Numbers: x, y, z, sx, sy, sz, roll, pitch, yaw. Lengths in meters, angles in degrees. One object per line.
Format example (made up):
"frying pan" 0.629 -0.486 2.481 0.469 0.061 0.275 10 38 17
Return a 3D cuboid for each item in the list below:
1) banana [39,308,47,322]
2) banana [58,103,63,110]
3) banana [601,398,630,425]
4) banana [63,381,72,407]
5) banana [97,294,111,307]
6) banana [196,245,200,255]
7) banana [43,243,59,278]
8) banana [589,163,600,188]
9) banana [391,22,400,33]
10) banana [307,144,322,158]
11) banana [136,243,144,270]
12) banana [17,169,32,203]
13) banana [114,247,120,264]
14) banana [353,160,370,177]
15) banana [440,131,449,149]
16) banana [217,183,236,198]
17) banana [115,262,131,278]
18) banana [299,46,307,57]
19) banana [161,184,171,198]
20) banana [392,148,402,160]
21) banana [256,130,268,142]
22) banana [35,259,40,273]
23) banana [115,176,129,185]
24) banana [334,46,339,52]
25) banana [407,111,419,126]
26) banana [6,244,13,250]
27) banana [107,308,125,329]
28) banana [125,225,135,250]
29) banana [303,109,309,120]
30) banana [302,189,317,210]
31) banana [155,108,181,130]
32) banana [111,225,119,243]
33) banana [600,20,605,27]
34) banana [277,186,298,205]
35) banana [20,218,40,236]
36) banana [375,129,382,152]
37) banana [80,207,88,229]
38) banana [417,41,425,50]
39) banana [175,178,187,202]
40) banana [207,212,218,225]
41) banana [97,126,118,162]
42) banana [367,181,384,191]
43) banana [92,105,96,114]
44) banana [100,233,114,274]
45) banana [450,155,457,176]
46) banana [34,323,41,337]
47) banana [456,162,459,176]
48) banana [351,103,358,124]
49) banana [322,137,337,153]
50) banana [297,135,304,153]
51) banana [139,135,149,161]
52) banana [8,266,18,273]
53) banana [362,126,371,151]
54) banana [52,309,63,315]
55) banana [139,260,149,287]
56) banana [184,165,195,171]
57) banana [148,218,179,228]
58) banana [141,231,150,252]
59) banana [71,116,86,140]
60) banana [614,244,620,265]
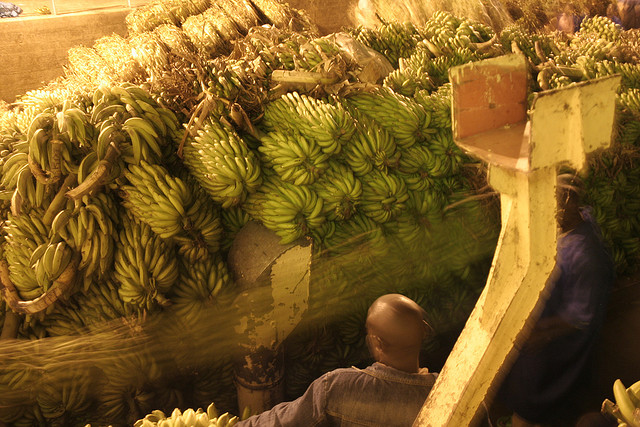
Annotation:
"banana" -1.881 0.692 4.439 0.028 0.095 0.027 0 -13 42
"banana" -1.822 -0.746 4.587 0.035 0.015 0.049 -13 48 -13
"banana" 1.714 1.147 3.818 0.064 0.213 0.050 -54 1 5
"banana" -1.753 1.251 4.530 0.055 0.192 0.037 -3 -8 25
"banana" -1.487 0.602 4.476 0.034 0.110 0.034 -46 -1 13
"banana" -0.853 0.264 4.589 0.012 0.066 0.016 19 -9 -29
"banana" -1.784 0.316 4.310 0.061 0.210 0.068 3 -11 41
"banana" 2.275 -0.321 5.357 0.042 0.261 0.037 4 12 -21
"banana" 0.679 -1.653 5.818 0.026 0.122 0.033 -36 13 -15
"banana" -0.026 -0.440 4.648 0.095 0.060 0.027 -56 21 -3
"banana" -1.223 0.298 4.441 0.041 0.163 0.045 3 -12 -35
"banana" -1.966 -0.176 4.346 0.078 0.232 0.049 2 1 -37
"banana" -1.390 0.282 4.461 0.057 0.079 0.022 -11 -8 9
"banana" 0.314 -0.314 4.746 0.124 0.101 0.037 -14 20 0
"banana" 0.948 -0.552 4.941 0.031 0.170 0.044 -2 -13 -18
"banana" -0.650 -0.150 4.575 0.149 0.077 0.027 -11 20 8
"banana" -1.343 0.393 4.440 0.115 0.107 0.028 3 25 36
"banana" -0.128 -1.216 4.939 0.045 0.062 0.052 2 25 34
"banana" -1.047 -0.147 4.447 0.038 0.083 0.027 -24 -6 -4
"banana" 0.572 -0.431 4.808 0.039 0.076 0.018 1 -23 5
"banana" -0.415 -0.553 4.733 0.040 0.075 0.022 -7 -22 -17
"banana" -1.867 0.351 4.316 0.021 0.086 0.014 6 -11 37
"banana" -1.353 -0.218 4.469 0.047 0.052 0.019 -10 -26 -7
"banana" 0.131 -1.254 4.991 0.031 0.016 0.067 7 37 -6
"banana" 0.708 -0.703 4.879 0.037 0.151 0.030 -26 10 45
"banana" -2.082 0.230 4.380 0.048 0.032 0.017 5 27 41
"banana" -1.400 0.713 4.488 0.048 0.206 0.066 -33 -1 -19
"banana" -1.297 0.154 4.462 0.040 0.187 0.063 -14 -6 -4
"banana" -0.094 -0.701 4.653 0.041 0.076 0.018 -9 -7 15
"banana" -0.067 -0.099 4.659 0.106 0.119 0.039 -26 3 -21
"banana" -1.088 -0.667 4.642 0.048 0.190 0.038 -37 12 -2
"banana" -1.401 0.143 4.448 0.029 0.108 0.027 -4 -2 -12
"banana" 2.845 -1.897 6.533 0.040 0.045 0.020 12 -2 38
"banana" -0.222 -0.119 4.615 0.041 0.158 0.028 -48 -5 4
"banana" -1.951 0.093 4.375 0.031 0.115 0.027 -28 11 35
"banana" 0.435 -0.525 4.750 0.032 0.166 0.048 -1 -5 -44
"banana" -1.575 0.034 4.360 0.041 0.145 0.039 -3 -7 -29
"banana" 0.877 -1.441 5.603 0.058 0.046 0.120 -10 21 10
"banana" -0.946 -0.163 4.507 0.034 0.132 0.099 -16 -2 9
"banana" -0.758 0.039 4.628 0.014 0.022 0.086 8 51 42
"banana" -1.416 -0.469 4.365 0.113 0.209 0.051 19 -12 -42
"banana" 0.403 -0.202 4.734 0.145 0.047 0.042 31 11 4
"banana" -1.569 -0.723 4.545 0.012 0.049 0.047 18 38 -26
"banana" -1.439 0.274 4.438 0.049 0.287 0.069 9 1 21
"banana" 1.019 -0.360 4.932 0.034 0.159 0.039 1 2 -8
"banana" -1.926 0.800 4.457 0.022 0.094 0.024 6 -8 -19
"banana" 1.054 -0.329 4.957 0.019 0.071 0.019 -5 14 37
"banana" 0.258 -0.730 4.814 0.033 0.157 0.039 -22 -24 37
"banana" 0.075 -0.475 4.655 0.077 0.027 0.080 7 -31 -11
"banana" -0.132 -0.497 4.639 0.032 0.106 0.056 -17 21 -12
"banana" -1.194 -0.443 4.515 0.058 0.177 0.044 -12 -2 34
"banana" -2.049 0.376 4.359 0.037 0.048 0.040 9 -33 -24
"banana" 0.335 -0.540 4.769 0.036 0.190 0.047 -18 -5 -11
"banana" -1.796 0.678 4.468 0.052 0.046 0.010 -13 20 2
"banana" -1.186 0.414 4.445 0.037 0.186 0.053 -4 4 2
"banana" -0.922 -0.321 4.630 0.099 0.043 0.010 5 26 40
"banana" -1.064 0.073 4.501 0.222 0.087 0.061 1 -6 -13
"banana" -1.188 0.199 4.477 0.034 0.146 0.041 8 -10 -3
"banana" -1.618 -0.583 4.410 0.045 0.205 0.049 -19 6 6
"banana" 2.548 0.355 5.569 0.091 0.160 0.039 3 2 -28
